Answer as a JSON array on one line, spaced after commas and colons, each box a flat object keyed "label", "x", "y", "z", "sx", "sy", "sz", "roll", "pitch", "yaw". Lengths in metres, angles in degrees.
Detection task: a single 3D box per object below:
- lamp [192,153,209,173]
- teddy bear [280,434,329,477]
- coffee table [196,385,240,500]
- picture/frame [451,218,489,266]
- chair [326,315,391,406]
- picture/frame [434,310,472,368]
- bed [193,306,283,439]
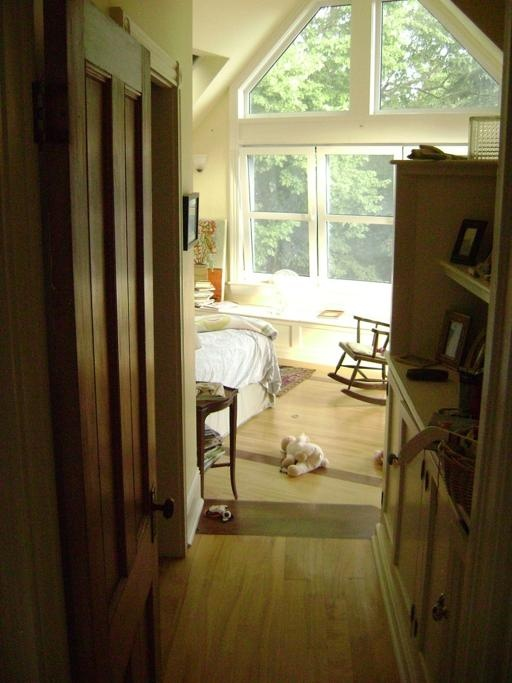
[{"label": "lamp", "x": -0.721, "y": -2.353, "z": 7.134, "sx": 0.177, "sy": 0.200, "sz": 0.254, "roll": 0, "pitch": 8, "yaw": -6}, {"label": "teddy bear", "x": 0.317, "y": 0.819, "z": 3.898, "sx": 0.232, "sy": 0.122, "sz": 0.248, "roll": 2, "pitch": 29, "yaw": 29}, {"label": "coffee table", "x": -0.232, "y": 0.630, "z": 3.391, "sx": 0.239, "sy": 0.703, "sz": 0.701, "roll": 0, "pitch": 8, "yaw": -2}, {"label": "picture/frame", "x": 0.905, "y": -0.437, "z": 2.337, "sx": 0.126, "sy": 0.186, "sz": 0.019, "roll": 2, "pitch": 23, "yaw": -22}, {"label": "chair", "x": 1.146, "y": 0.113, "z": 5.426, "sx": 0.630, "sy": 0.916, "sz": 0.551, "roll": 9, "pitch": 11, "yaw": -8}, {"label": "picture/frame", "x": 0.885, "y": -0.015, "z": 2.420, "sx": 0.018, "sy": 0.299, "sz": 0.204, "roll": 9, "pitch": 8, "yaw": -13}, {"label": "bed", "x": -0.231, "y": 0.252, "z": 4.656, "sx": 0.846, "sy": 0.464, "sz": 0.904, "roll": 6, "pitch": 21, "yaw": 19}]
